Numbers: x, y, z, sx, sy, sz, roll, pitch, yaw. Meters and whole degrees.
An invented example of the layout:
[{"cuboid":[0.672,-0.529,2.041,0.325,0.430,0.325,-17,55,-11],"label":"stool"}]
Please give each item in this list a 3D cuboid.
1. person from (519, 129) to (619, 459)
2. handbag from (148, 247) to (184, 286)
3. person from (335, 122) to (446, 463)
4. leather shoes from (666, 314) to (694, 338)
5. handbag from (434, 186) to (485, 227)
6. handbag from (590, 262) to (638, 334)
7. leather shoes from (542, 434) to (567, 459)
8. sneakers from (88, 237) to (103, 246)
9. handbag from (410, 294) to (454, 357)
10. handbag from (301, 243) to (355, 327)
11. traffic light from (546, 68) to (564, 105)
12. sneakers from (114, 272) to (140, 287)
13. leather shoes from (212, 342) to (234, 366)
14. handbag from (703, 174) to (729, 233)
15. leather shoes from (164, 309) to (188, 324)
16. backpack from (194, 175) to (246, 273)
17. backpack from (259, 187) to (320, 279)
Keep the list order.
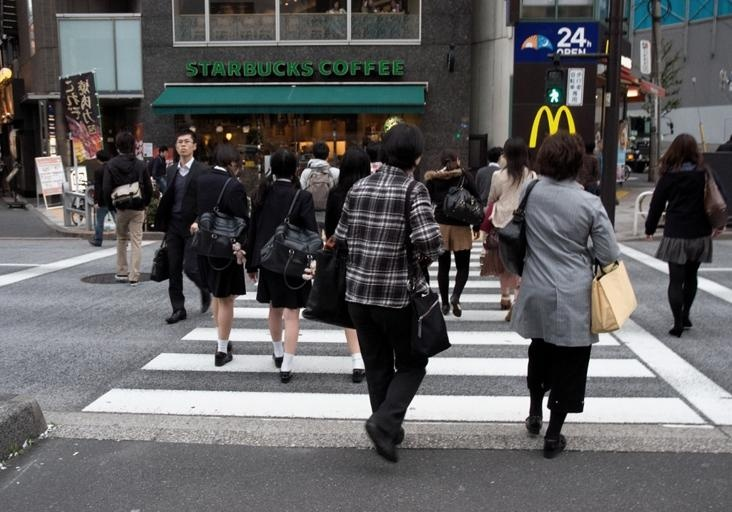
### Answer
[{"cuboid":[1.629,0.355,5.940,0.774,2.635,0.499,6,13,25],"label":"person"},{"cuboid":[-2.617,0.153,9.367,0.169,0.545,0.517,7,6,5],"label":"handbag"},{"cuboid":[0.181,0.131,5.756,0.848,2.327,0.493,1,12,5],"label":"person"},{"cuboid":[3.895,0.830,8.859,0.149,0.268,0.477,8,45,41],"label":"leather shoes"},{"cuboid":[1.176,-0.637,9.185,0.446,0.519,0.255,10,10,-10],"label":"handbag"},{"cuboid":[2.025,0.365,5.845,0.331,0.627,0.376,6,14,26],"label":"handbag"},{"cuboid":[1.583,1.615,5.997,0.100,0.138,0.281,4,23,30],"label":"leather shoes"},{"cuboid":[-5.834,-0.321,15.347,0.345,0.178,0.128,23,18,33],"label":"sneakers"},{"cuboid":[0.505,0.546,5.682,0.302,0.533,0.239,-2,12,-9],"label":"handbag"},{"cuboid":[-0.316,0.223,6.059,0.544,0.734,0.311,10,13,10],"label":"handbag"},{"cuboid":[4.258,-3.815,15.931,0.459,0.780,0.734,3,13,16],"label":"traffic light"},{"cuboid":[-3.846,0.361,11.464,0.185,0.262,0.554,-4,11,-36],"label":"sneakers"},{"cuboid":[-1.575,1.101,7.916,0.107,0.163,0.349,1,11,2],"label":"leather shoes"},{"cuboid":[4.149,-0.638,8.456,0.264,0.722,0.247,6,14,28],"label":"handbag"},{"cuboid":[-2.465,0.796,9.352,0.116,0.181,0.381,-10,-6,21],"label":"leather shoes"},{"cuboid":[-1.534,-0.402,7.478,0.544,0.789,0.368,-2,12,-10],"label":"backpack"},{"cuboid":[-0.763,-0.215,7.009,0.532,0.739,0.363,26,2,-14],"label":"backpack"}]
